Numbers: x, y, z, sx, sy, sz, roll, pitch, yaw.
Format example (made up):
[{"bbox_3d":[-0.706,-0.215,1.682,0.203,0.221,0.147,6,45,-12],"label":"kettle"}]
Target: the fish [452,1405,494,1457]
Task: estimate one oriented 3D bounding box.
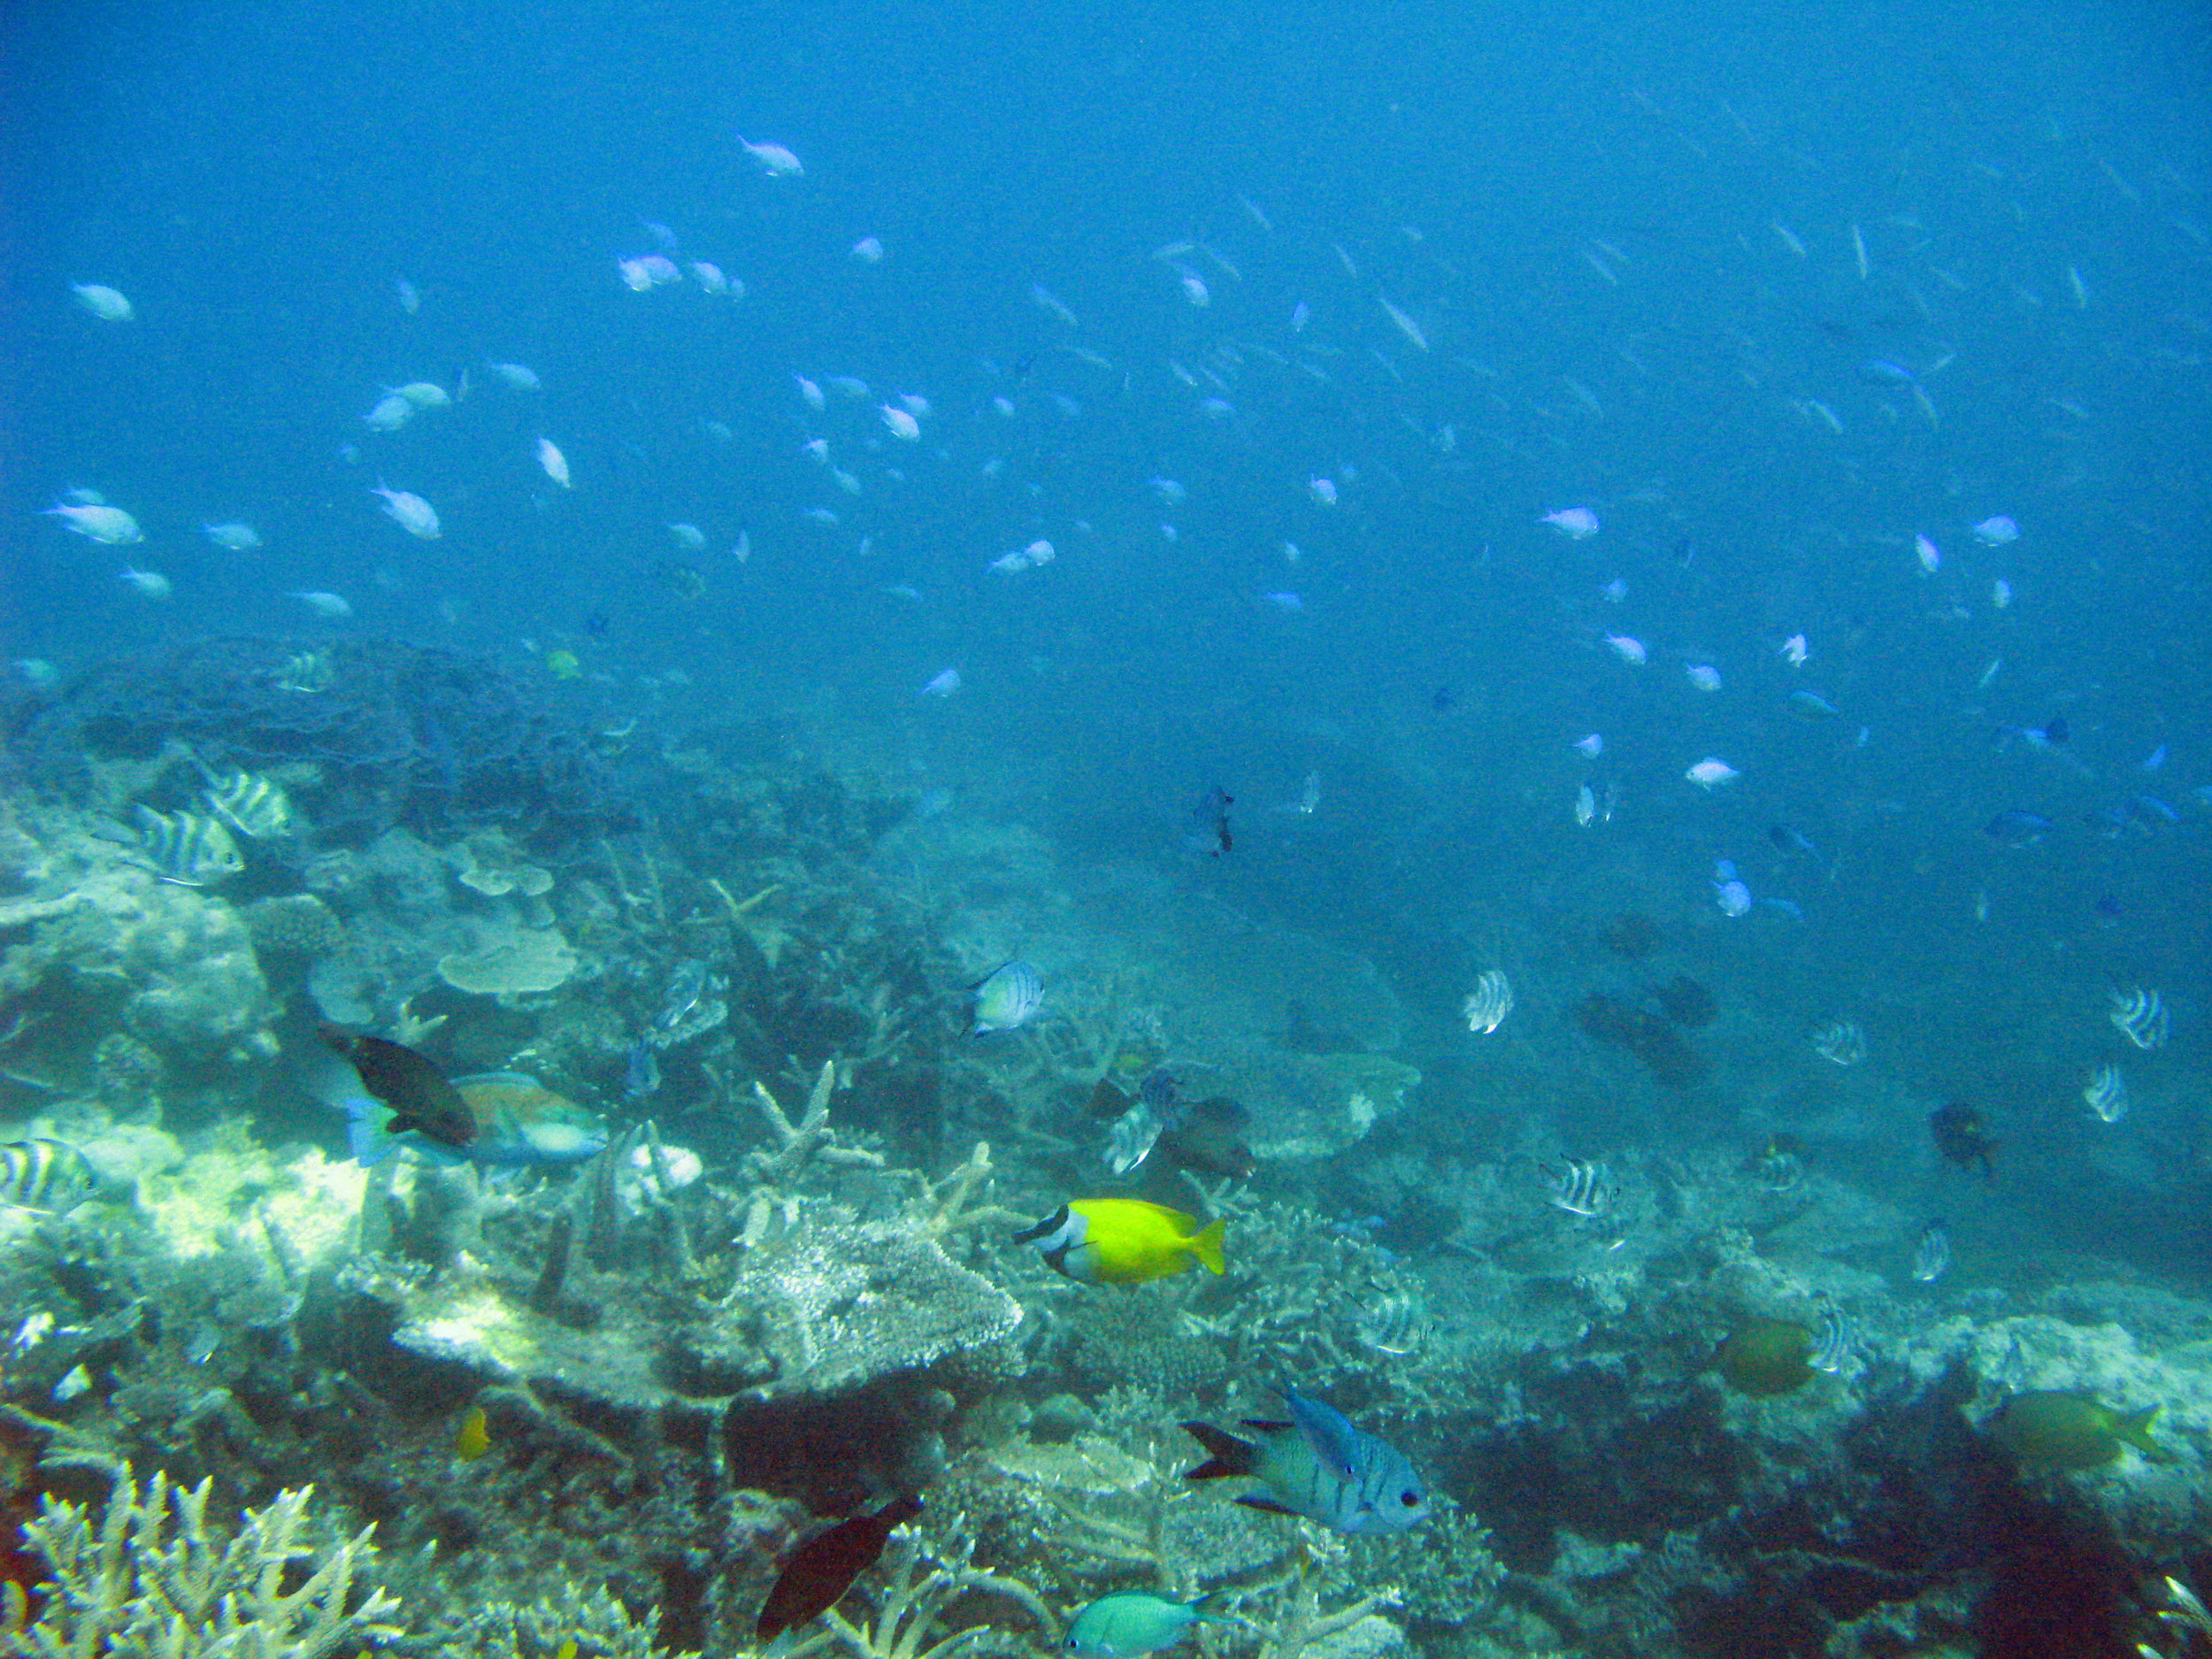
[{"bbox_3d":[-6.922,6.589,21.072,0.379,0.502,0.130,5,-7,-7],"label":"fish"}]
